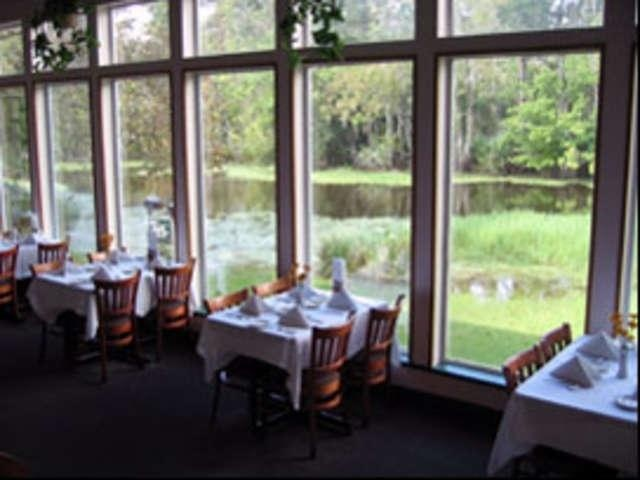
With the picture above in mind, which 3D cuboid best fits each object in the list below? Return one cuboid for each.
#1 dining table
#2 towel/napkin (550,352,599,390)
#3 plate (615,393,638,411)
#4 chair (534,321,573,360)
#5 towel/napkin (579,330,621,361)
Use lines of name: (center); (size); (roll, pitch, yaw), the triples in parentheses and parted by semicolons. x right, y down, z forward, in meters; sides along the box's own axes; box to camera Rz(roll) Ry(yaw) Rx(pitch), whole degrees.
dining table: (1.963, 1.410, 4.312); (0.970, 0.841, 1.038); (9, 16, 33)
towel/napkin: (1.967, 1.028, 4.245); (0.250, 0.142, 0.241); (-8, 14, -40)
plate: (2.212, 1.159, 3.961); (0.127, 0.050, 0.194); (8, 16, 30)
chair: (2.105, 0.897, 4.916); (0.215, 0.346, 0.223); (6, 15, 43)
towel/napkin: (2.380, 0.903, 4.677); (0.243, 0.122, 0.237); (2, 13, 22)
